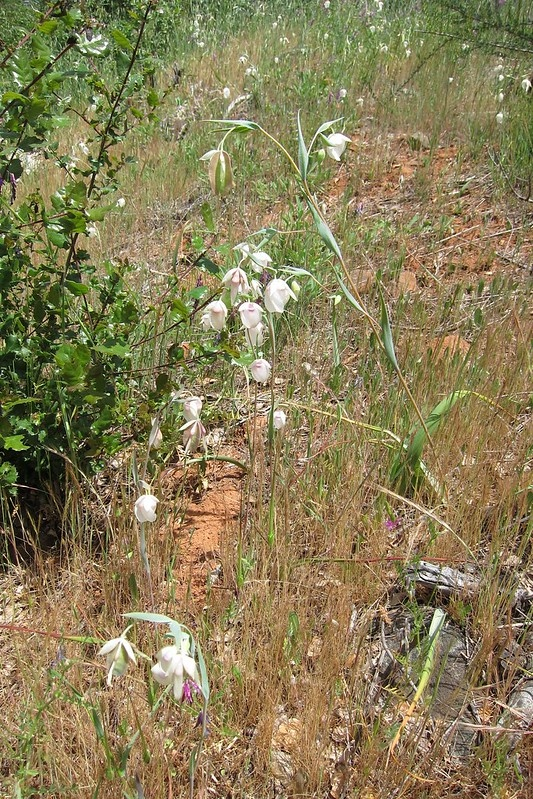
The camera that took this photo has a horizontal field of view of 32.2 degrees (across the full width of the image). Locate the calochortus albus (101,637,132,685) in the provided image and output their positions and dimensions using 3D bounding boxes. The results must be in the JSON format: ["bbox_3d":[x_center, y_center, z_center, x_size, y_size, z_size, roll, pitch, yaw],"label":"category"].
[{"bbox_3d":[-0.290,0.502,1.783,0.060,0.067,0.102,9,76,-1],"label":"calochortus albus"}]

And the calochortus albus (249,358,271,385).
[{"bbox_3d":[-0.026,-0.065,2.591,0.074,0.092,0.072,-1,10,-1],"label":"calochortus albus"}]

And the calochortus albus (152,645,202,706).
[{"bbox_3d":[-0.161,0.503,1.761,0.065,0.047,0.065,14,23,25],"label":"calochortus albus"}]
